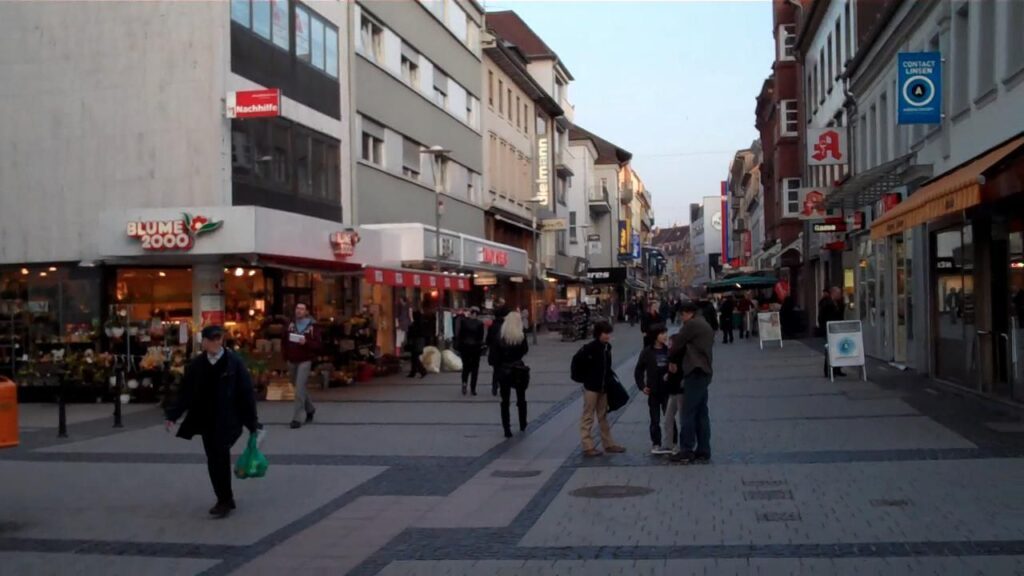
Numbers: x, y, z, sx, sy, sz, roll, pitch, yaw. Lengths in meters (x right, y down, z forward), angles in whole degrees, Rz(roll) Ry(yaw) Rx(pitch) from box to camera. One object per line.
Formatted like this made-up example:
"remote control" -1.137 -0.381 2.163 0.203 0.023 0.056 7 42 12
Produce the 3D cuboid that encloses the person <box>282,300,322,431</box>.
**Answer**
"person" -4.920 1.778 19.634 0.767 2.864 0.958 -3 5 -15

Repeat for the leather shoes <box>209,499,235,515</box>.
"leather shoes" -4.795 3.658 13.859 0.182 0.161 0.382 -3 -8 27

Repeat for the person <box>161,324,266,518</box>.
"person" -4.890 2.184 13.915 1.434 3.125 0.650 -1 5 14

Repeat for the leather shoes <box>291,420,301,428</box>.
"leather shoes" -5.008 3.160 19.361 0.238 0.120 0.296 -3 5 -19

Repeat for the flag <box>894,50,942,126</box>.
"flag" 10.301 -5.152 21.393 1.166 1.787 0.415 -2 5 -7

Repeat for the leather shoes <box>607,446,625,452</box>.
"leather shoes" 2.037 3.206 16.598 0.369 0.147 0.138 -2 -1 9

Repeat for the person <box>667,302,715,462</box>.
"person" 3.381 1.784 15.877 0.717 2.889 0.821 -1 5 14

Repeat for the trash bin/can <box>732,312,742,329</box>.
"trash bin/can" 11.214 1.570 41.941 0.350 0.688 0.726 -1 5 12

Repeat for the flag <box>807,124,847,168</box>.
"flag" 11.601 -5.308 31.114 1.363 1.387 0.126 3 14 29

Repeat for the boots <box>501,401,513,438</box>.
"boots" -0.126 2.815 18.223 0.230 0.792 0.573 -2 5 -3

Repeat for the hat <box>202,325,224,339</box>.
"hat" -4.989 0.735 13.891 0.242 0.189 0.326 -6 -17 -27
